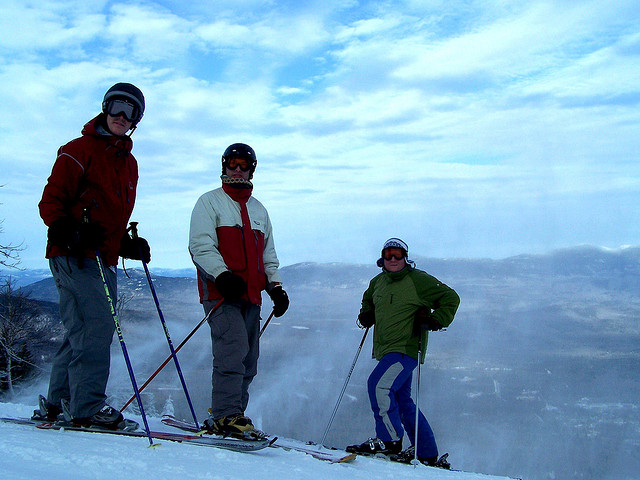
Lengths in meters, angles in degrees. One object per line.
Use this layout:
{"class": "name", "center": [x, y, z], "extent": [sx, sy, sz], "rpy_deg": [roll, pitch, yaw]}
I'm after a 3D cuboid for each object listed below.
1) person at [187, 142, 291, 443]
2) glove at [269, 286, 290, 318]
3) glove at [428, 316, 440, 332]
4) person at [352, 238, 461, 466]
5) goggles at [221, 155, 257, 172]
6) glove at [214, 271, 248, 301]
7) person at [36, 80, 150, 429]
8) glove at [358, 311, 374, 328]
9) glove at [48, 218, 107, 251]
{"class": "person", "center": [-0.923, 0.551, 6.059], "extent": [1.098, 3.188, 1.419], "rpy_deg": [4, 8, -10]}
{"class": "glove", "center": [-0.443, 0.707, 6.263], "extent": [0.244, 0.312, 0.105], "rpy_deg": [-8, 2, -15]}
{"class": "glove", "center": [1.538, 1.134, 7.334], "extent": [0.121, 0.164, 0.041], "rpy_deg": [-25, -16, 19]}
{"class": "person", "center": [1.101, 1.392, 7.441], "extent": [1.208, 2.696, 1.433], "rpy_deg": [6, 8, 4]}
{"class": "goggles", "center": [-0.945, -0.881, 6.400], "extent": [0.385, 0.168, 0.134], "rpy_deg": [4, 8, -12]}
{"class": "glove", "center": [-0.954, 0.475, 5.860], "extent": [0.345, 0.254, 0.336], "rpy_deg": [1, 0, 2]}
{"class": "person", "center": [-2.363, 0.152, 5.663], "extent": [0.989, 3.584, 1.076], "rpy_deg": [3, 8, -19]}
{"class": "glove", "center": [0.681, 1.131, 7.877], "extent": [0.253, 0.232, 0.182], "rpy_deg": [-3, -11, 37]}
{"class": "glove", "center": [-2.427, -0.047, 5.465], "extent": [0.514, 0.326, 0.199], "rpy_deg": [1, 9, -27]}
